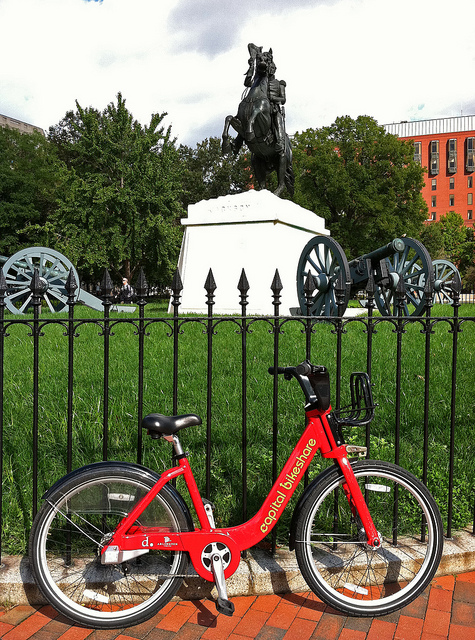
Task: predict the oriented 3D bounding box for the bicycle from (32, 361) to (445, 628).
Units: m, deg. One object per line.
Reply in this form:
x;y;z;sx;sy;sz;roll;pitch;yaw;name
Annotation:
0.027;0.794;2.924;1.903;1.381;0.687;0;14;-5;bicycle
